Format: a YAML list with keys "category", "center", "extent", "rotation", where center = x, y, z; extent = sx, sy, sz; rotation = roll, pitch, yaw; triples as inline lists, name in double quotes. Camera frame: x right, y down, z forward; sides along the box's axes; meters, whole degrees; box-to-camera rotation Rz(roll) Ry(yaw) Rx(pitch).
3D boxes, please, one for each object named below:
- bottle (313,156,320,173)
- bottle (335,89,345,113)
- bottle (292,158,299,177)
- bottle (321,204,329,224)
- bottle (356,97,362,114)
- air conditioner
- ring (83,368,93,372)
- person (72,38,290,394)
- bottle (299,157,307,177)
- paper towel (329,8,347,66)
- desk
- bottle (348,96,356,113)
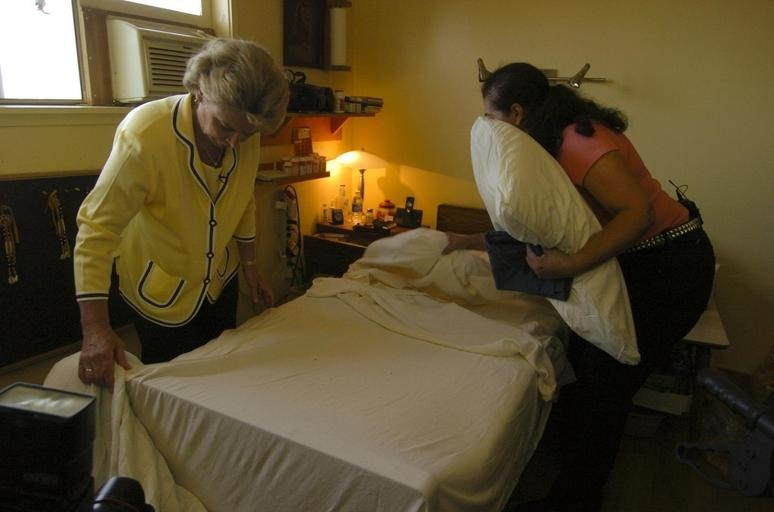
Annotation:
- category: "bottle"
  center: [-0.463, -0.585, 3.746]
  extent: [0.049, 0.087, 0.089]
  rotation: [4, 16, 16]
- category: "bottle"
  center: [-0.305, -0.962, 3.658]
  extent: [0.066, 0.128, 0.068]
  rotation: [3, 21, -1]
- category: "bottle"
  center: [-0.570, -0.545, 3.623]
  extent: [0.036, 0.089, 0.068]
  rotation: [-1, 21, -12]
- category: "bottle"
  center: [-0.428, -0.295, 4.088]
  extent: [0.054, 0.117, 0.066]
  rotation: [1, 21, -7]
- category: "bottle"
  center: [-0.183, -0.989, 3.842]
  extent: [0.015, 0.092, 0.047]
  rotation: [13, 23, 24]
- category: "air conditioner"
  center: [-1.173, -1.009, 3.061]
  extent: [0.205, 0.406, 0.577]
  rotation: [10, 20, 16]
- category: "ring"
  center: [-1.077, 0.414, 2.097]
  extent: [0.015, 0.015, 0.004]
  rotation: [-1, 11, -10]
- category: "person"
  center: [-0.818, -0.142, 2.273]
  extent: [0.827, 1.340, 0.466]
  rotation: [-9, 24, -29]
- category: "bottle"
  center: [-0.528, -0.560, 3.673]
  extent: [0.035, 0.095, 0.071]
  rotation: [7, 21, 9]
- category: "paper towel"
  center: [-0.312, -1.426, 3.815]
  extent: [0.139, 0.361, 0.111]
  rotation: [-9, 24, -30]
- category: "desk"
  center: [1.502, 0.501, 2.793]
  extent: [0.248, 0.701, 0.209]
  rotation: [-27, 30, -33]
- category: "bottle"
  center: [-0.235, -0.980, 3.790]
  extent: [0.035, 0.090, 0.068]
  rotation: [15, 24, 29]
